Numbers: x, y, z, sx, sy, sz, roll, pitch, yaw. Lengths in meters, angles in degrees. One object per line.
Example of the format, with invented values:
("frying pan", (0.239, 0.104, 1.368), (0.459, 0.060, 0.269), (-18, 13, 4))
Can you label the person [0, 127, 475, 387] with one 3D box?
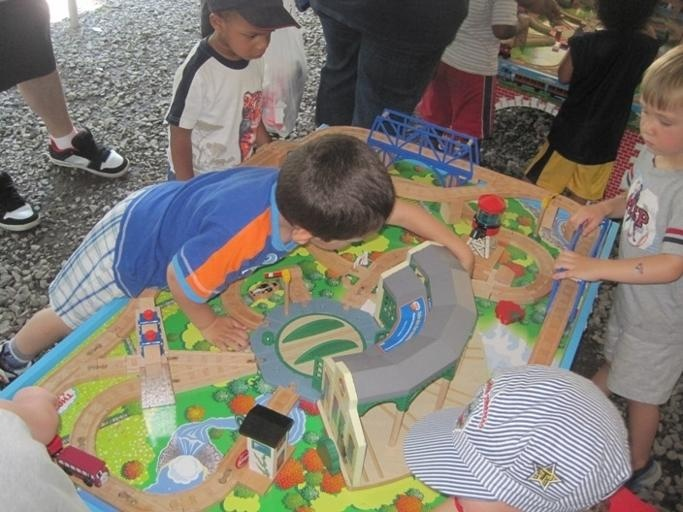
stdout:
("person", (-0.509, -0.119, 2.549), (2.342, 0.999, 0.938), (-5, 48, 6))
